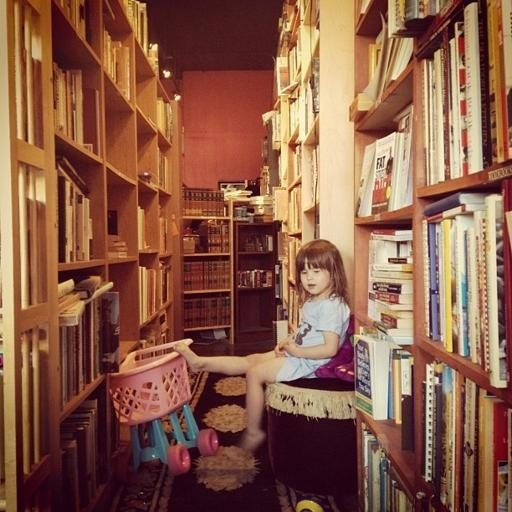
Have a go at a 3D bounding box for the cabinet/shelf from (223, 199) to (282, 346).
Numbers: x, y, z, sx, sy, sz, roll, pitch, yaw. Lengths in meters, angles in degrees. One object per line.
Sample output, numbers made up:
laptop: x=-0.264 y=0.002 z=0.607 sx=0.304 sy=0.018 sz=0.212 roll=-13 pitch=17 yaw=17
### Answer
cabinet/shelf: x=-0.017 y=0.229 z=5.035 sx=0.338 sy=1.190 sz=0.293 roll=0 pitch=2 yaw=4

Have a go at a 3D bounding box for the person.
person: x=-0.065 y=0.296 z=2.433 sx=0.824 sy=1.255 sz=0.495 roll=2 pitch=-2 yaw=-13
